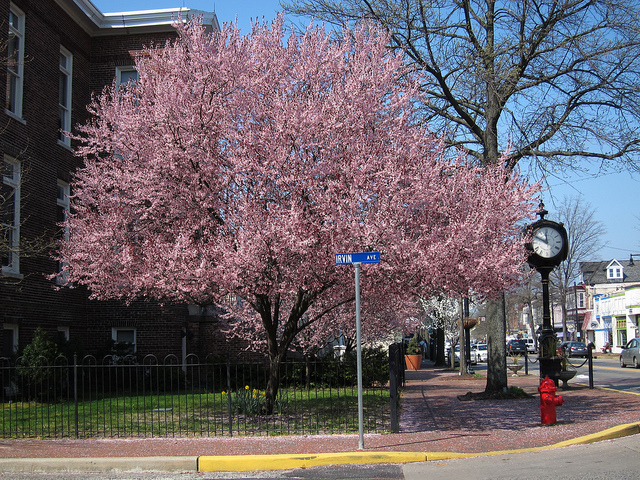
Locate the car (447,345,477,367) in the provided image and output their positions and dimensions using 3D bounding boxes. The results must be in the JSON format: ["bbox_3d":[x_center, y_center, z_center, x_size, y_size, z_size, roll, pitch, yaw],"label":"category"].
[{"bbox_3d":[9.792,8.080,50.171,1.367,1.133,3.026,1,-13,-6],"label":"car"}]

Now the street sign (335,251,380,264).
[{"bbox_3d":[0.781,0.378,15.161,0.909,0.249,0.370,0,1,6],"label":"street sign"}]

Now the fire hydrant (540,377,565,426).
[{"bbox_3d":[5.369,3.761,16.924,0.527,1.112,0.348,-1,2,-17],"label":"fire hydrant"}]

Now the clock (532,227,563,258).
[{"bbox_3d":[7.001,0.069,22.322,0.912,0.923,0.304,-1,2,-13],"label":"clock"}]
